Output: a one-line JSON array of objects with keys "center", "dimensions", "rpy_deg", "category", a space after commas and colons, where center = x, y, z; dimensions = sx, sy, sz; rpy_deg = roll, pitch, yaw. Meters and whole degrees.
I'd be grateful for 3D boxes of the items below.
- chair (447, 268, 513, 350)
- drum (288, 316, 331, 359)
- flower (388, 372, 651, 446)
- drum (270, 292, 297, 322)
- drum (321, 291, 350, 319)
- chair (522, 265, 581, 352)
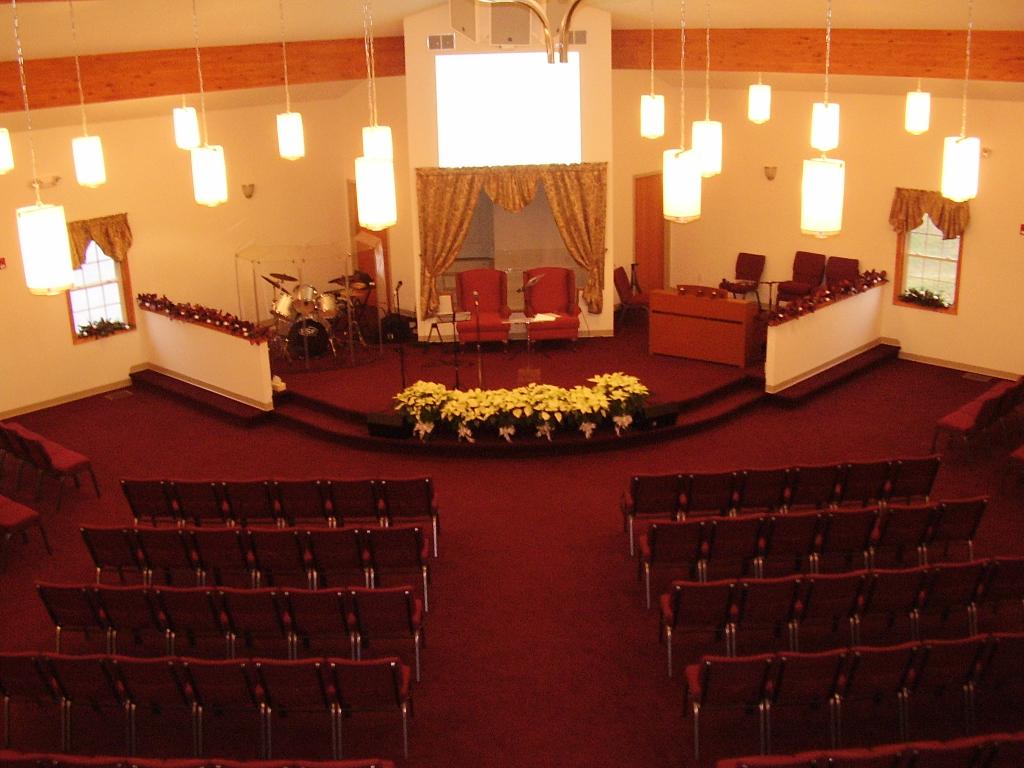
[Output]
[{"center": [-0.516, -1.275, 14.712], "dimensions": [1.136, 1.155, 1.147], "rpy_deg": [-9, 22, -23], "category": "chair"}, {"center": [-3.352, -0.771, 14.382], "dimensions": [0.711, 0.703, 0.376], "rpy_deg": [-6, 18, -11], "category": "drum"}, {"center": [0.119, 0.363, 11.914], "dimensions": [3.277, 0.742, 0.661], "rpy_deg": [-2, 17, 2], "category": "flower"}, {"center": [-3.728, -1.271, 14.284], "dimensions": [0.414, 0.319, 0.415], "rpy_deg": [34, 30, -23], "category": "drum"}, {"center": [-2.984, -1.305, 14.399], "dimensions": [0.458, 0.321, 0.451], "rpy_deg": [0, 20, 0], "category": "drum"}, {"center": [0.637, -1.278, 14.641], "dimensions": [0.907, 1.193, 1.442], "rpy_deg": [-2, 17, 3], "category": "chair"}]
